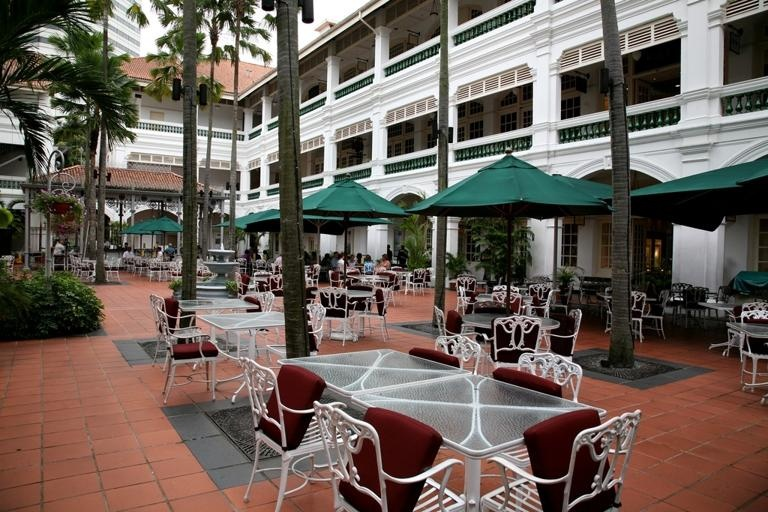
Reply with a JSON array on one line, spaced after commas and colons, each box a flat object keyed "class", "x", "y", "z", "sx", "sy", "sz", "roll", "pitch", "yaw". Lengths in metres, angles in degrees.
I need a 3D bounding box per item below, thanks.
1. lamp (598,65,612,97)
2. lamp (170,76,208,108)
[{"class": "lamp", "x": 3.996, "y": -3.168, "z": 9.797, "sx": 0.208, "sy": 0.346, "sz": 0.186, "roll": 2, "pitch": -1, "yaw": -10}, {"class": "lamp", "x": -3.808, "y": -3.241, "z": 10.594, "sx": 0.698, "sy": 0.656, "sz": 0.240, "roll": 4, "pitch": -9, "yaw": -24}]
